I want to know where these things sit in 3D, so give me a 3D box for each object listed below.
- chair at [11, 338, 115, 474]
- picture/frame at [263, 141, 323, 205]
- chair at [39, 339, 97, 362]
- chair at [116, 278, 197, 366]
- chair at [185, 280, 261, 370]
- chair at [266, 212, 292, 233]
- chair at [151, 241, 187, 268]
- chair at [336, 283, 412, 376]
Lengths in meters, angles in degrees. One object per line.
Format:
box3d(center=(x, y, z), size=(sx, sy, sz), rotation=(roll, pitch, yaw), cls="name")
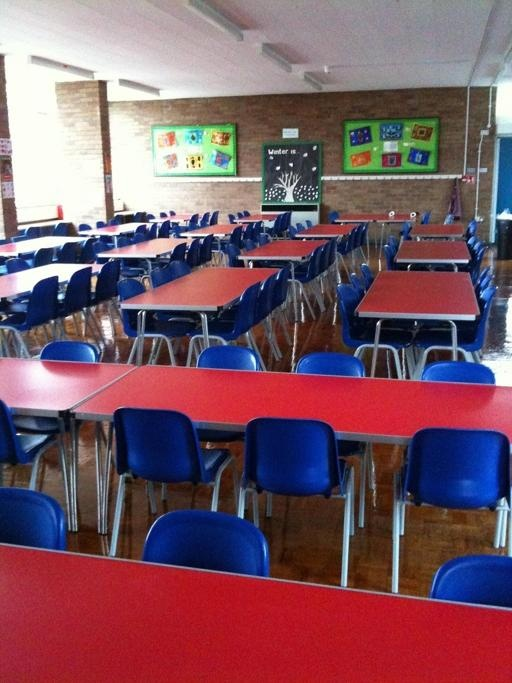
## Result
box3d(center=(-0.921, 0.237, 2.911), size=(0.398, 0.654, 0.503), rotation=(6, 4, 9), cls="chair")
box3d(center=(0.863, -4.150, 13.490), size=(1.499, 1.489, 0.164), rotation=(2, 26, 9), cls="picture/frame")
box3d(center=(-1.036, 0.065, 3.063), size=(0.186, 0.170, 0.241), rotation=(0, -5, 0), cls="chair")
box3d(center=(-0.826, -0.163, 4.627), size=(0.655, 0.928, 0.575), rotation=(4, 21, 10), cls="chair")
box3d(center=(-0.263, -0.101, 4.461), size=(0.634, 0.800, 0.627), rotation=(-2, 20, -9), cls="chair")
box3d(center=(0.457, -2.453, 11.492), size=(0.385, 0.512, 1.396), rotation=(1, 13, 13), cls="chair")
box3d(center=(-1.190, -1.155, 7.489), size=(0.409, 0.554, 0.379), rotation=(5, 18, 7), cls="chair")
box3d(center=(0.909, -0.092, 4.248), size=(0.593, 0.894, 0.542), rotation=(1, 16, 15), cls="chair")
